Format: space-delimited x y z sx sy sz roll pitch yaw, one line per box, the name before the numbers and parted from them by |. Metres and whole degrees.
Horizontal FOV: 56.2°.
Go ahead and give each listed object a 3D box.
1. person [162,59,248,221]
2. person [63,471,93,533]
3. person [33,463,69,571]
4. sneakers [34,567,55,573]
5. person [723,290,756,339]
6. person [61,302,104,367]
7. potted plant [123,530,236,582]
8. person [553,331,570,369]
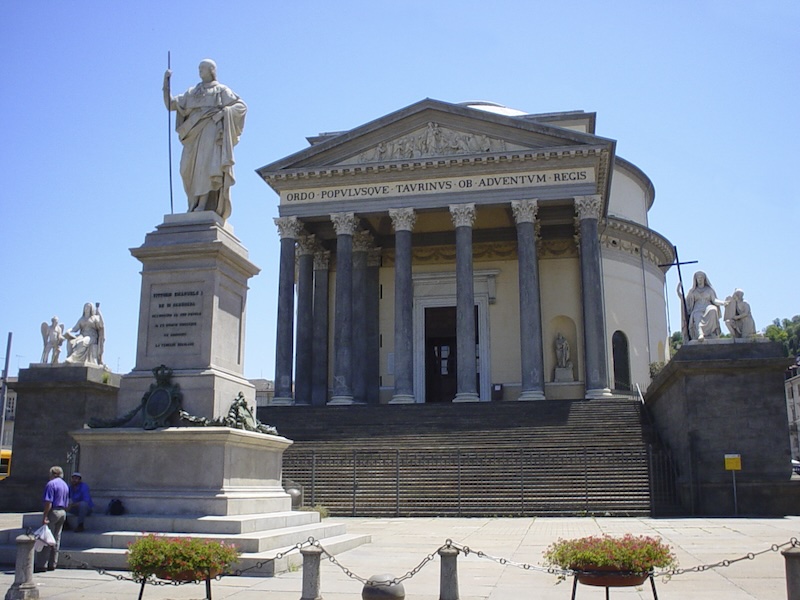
person | -4.118 -3.566 15.956 1.515 3.414 0.672 3 -13 -15
person | -5.771 3.571 13.336 0.489 1.002 0.547 -10 -10 18
person | -6.041 3.777 12.931 0.511 1.750 0.552 -10 -26 13
sneakers | -5.869 4.459 12.383 0.303 0.142 0.104 -1 -6 1
person | 11.535 0.608 25.493 0.791 1.818 0.582 -4 -27 24
person | -11.052 1.183 26.359 1.142 2.324 0.995 5 -14 -22
potted plant | -2.911 3.431 9.919 0.808 0.358 0.864 1 -14 10
person | 9.664 2.976 44.574 0.948 2.151 0.769 -4 -13 14
